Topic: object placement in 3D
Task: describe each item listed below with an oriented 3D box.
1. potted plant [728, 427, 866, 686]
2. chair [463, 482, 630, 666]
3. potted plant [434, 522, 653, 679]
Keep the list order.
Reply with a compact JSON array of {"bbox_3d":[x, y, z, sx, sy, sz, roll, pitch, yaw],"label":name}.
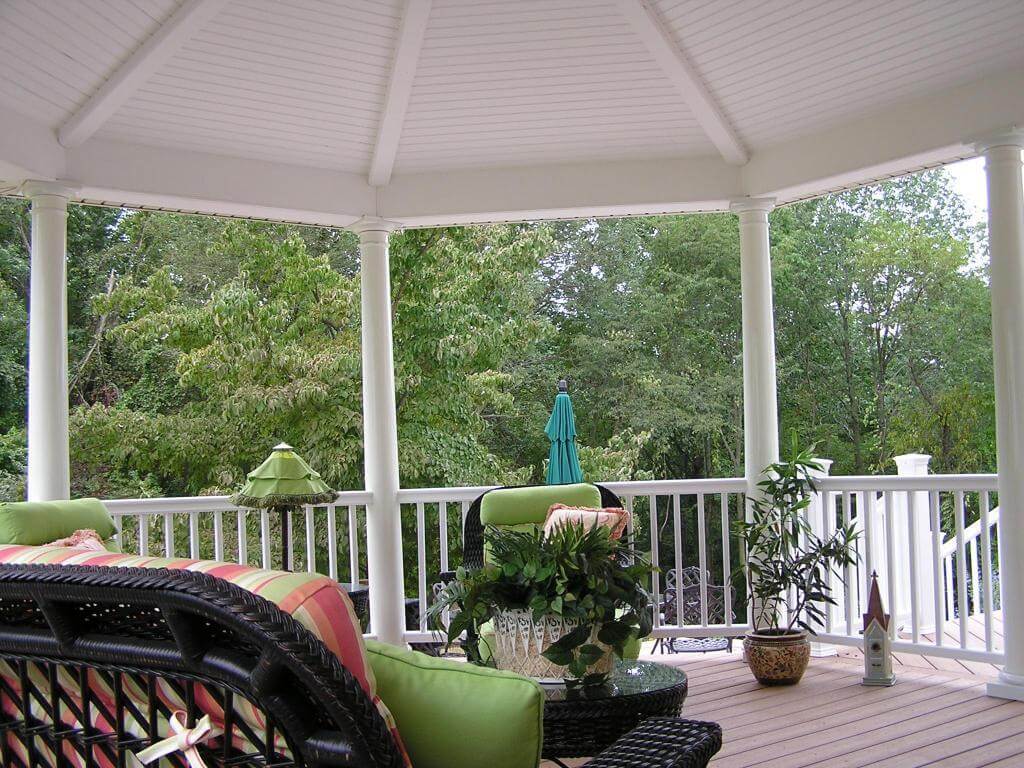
[{"bbox_3d":[1.558,0.923,5.059,0.616,1.202,0.942,-2,-2,16],"label":"potted plant"},{"bbox_3d":[0.109,0.728,4.473,0.561,0.705,0.592,0,-17,6],"label":"chair"},{"bbox_3d":[0.084,0.643,2.916,0.519,0.397,0.492,0,-6,9],"label":"potted plant"}]
